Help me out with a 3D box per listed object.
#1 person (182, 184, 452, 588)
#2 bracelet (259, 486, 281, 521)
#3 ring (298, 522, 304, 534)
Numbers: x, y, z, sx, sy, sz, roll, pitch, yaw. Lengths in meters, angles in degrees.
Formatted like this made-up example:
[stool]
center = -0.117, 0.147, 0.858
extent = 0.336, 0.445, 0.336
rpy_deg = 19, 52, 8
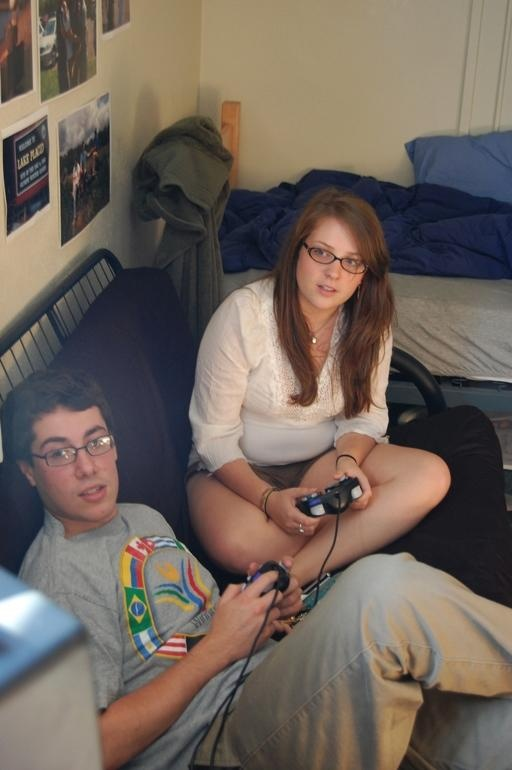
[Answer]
[person]
center = 0.129, 0.005, 1.624
extent = 0.667, 0.958, 0.676
rpy_deg = -10, 26, -39
[bracelet]
center = 0.038, 0.297, 1.517
extent = 0.025, 0.059, 0.068
rpy_deg = 5, 62, 0
[ring]
center = 0.109, 0.343, 1.476
extent = 0.013, 0.023, 0.023
rpy_deg = 3, 9, 1
